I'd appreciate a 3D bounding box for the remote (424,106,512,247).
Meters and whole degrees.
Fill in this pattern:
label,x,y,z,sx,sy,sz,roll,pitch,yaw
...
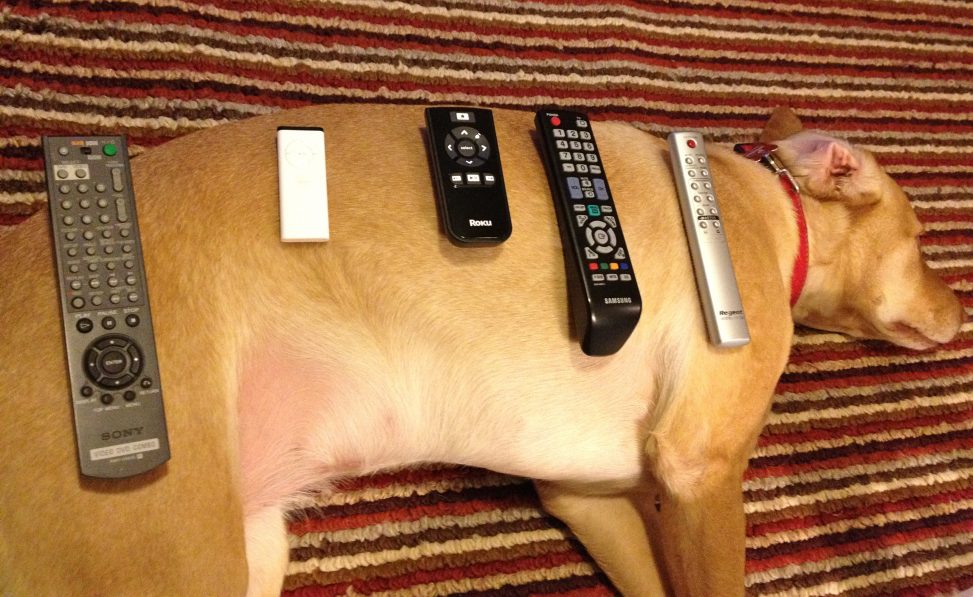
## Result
label,x,y,z,sx,sy,sz,roll,pitch,yaw
remote,-0.022,-0.172,1.371,0.126,0.225,0.046,-7,68,-4

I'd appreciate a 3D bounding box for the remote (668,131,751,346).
label,x,y,z,sx,sy,sz,roll,pitch,yaw
remote,0.393,-0.111,1.459,0.095,0.413,0.062,-6,-14,-17

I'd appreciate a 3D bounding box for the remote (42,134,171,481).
label,x,y,z,sx,sy,sz,roll,pitch,yaw
remote,-0.620,0.017,1.291,0.187,0.594,0.094,-7,-4,-14

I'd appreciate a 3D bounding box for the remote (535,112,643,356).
label,x,y,z,sx,sy,sz,roll,pitch,yaw
remote,0.173,-0.137,1.431,0.135,0.136,0.468,-5,68,-15
